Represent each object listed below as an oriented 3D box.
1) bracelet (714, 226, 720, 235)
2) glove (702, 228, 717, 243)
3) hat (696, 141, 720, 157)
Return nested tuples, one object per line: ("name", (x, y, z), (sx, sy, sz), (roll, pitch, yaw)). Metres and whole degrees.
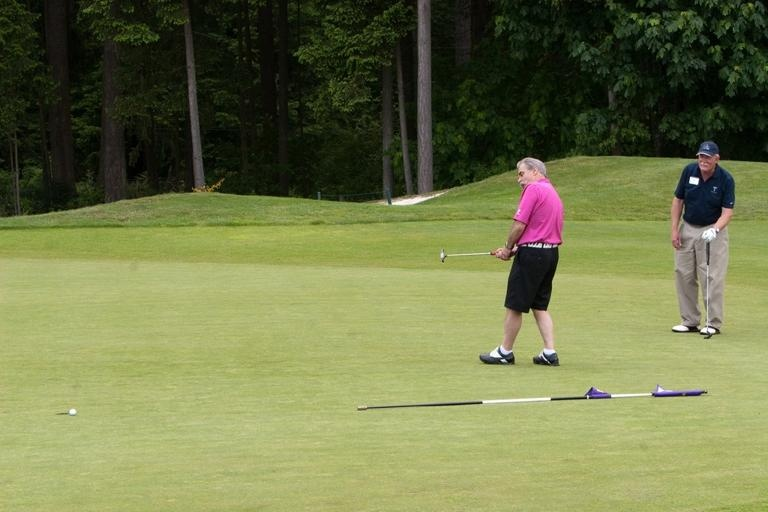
("bracelet", (7.373, -0.563, 35.548), (0.168, 0.180, 0.077), (1, 8, 11))
("glove", (7.214, -0.448, 35.597), (0.316, 0.325, 0.194), (1, 12, 12))
("hat", (7.258, -2.367, 35.748), (0.394, 0.272, 0.594), (2, 0, 32))
